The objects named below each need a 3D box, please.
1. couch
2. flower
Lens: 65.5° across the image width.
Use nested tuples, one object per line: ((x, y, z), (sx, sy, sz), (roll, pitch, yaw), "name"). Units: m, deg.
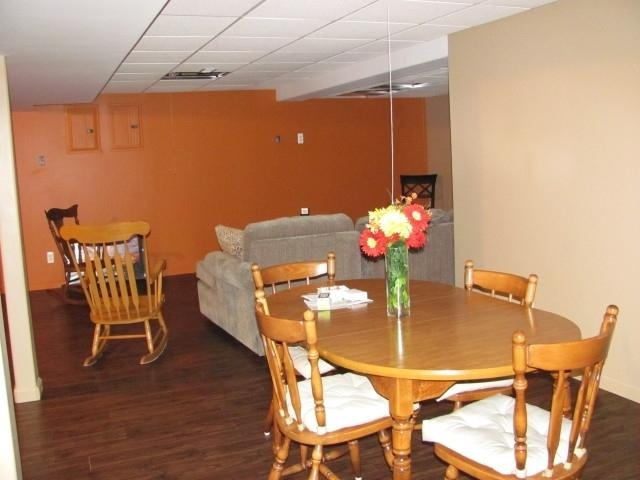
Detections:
((-0.453, 0.080, 5.129), (2.470, 1.101, 1.367), (-5, 11, -26), "couch")
((0.454, -0.075, 2.882), (0.413, 0.367, 0.415), (-10, 1, 38), "flower")
